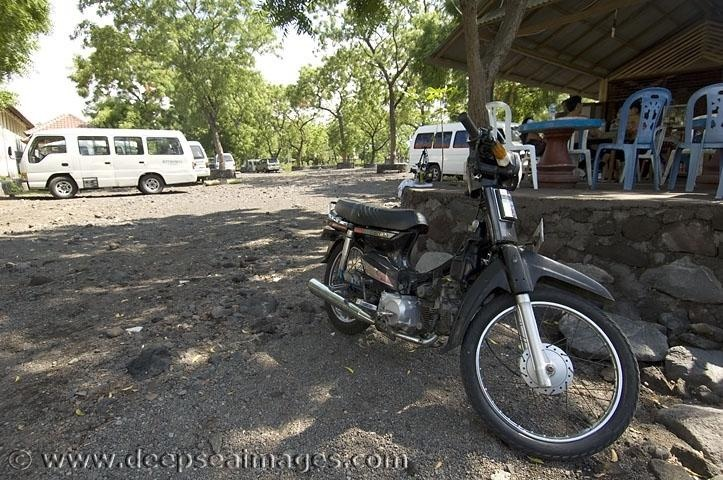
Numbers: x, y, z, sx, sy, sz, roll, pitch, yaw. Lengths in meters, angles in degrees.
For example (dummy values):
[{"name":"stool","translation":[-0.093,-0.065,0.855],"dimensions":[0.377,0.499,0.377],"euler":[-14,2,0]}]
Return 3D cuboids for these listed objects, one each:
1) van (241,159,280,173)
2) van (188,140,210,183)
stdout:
[{"name":"van","translation":[-9.258,-7.114,43.464],"dimensions":[1.979,1.331,3.571],"euler":[-10,25,-40]},{"name":"van","translation":[-7.632,-3.758,21.456],"dimensions":[1.352,1.356,2.386],"euler":[-5,19,-17]}]
